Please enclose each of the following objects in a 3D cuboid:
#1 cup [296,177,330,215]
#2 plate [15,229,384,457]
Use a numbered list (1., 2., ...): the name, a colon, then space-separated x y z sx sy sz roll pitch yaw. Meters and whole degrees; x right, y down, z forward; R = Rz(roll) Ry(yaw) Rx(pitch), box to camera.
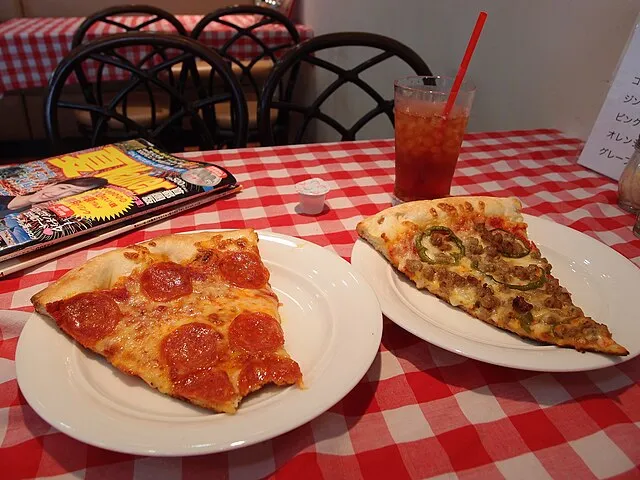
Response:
1. cup: -0.011 -0.118 1.196 0.087 0.064 0.083 2 39 -1
2. plate: -0.165 0.172 0.757 0.559 0.102 0.405 -21 47 -29
